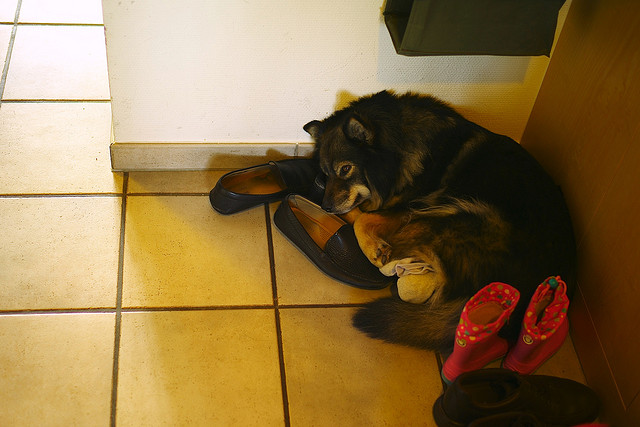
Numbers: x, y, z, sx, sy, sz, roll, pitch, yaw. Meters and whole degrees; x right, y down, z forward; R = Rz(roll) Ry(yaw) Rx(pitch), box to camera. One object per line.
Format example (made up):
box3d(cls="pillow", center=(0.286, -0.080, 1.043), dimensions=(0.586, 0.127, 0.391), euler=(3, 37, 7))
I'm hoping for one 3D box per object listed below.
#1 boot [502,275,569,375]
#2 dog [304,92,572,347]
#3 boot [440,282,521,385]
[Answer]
box3d(cls="boot", center=(0.755, 0.399, 1.758), dimensions=(0.135, 0.250, 0.259), euler=(34, 68, 31))
box3d(cls="dog", center=(0.472, 0.005, 1.945), dimensions=(0.859, 0.652, 0.850), euler=(1, 39, -13))
box3d(cls="boot", center=(0.560, 0.429, 1.729), dimensions=(0.265, 0.273, 0.133), euler=(-32, 54, -17))
